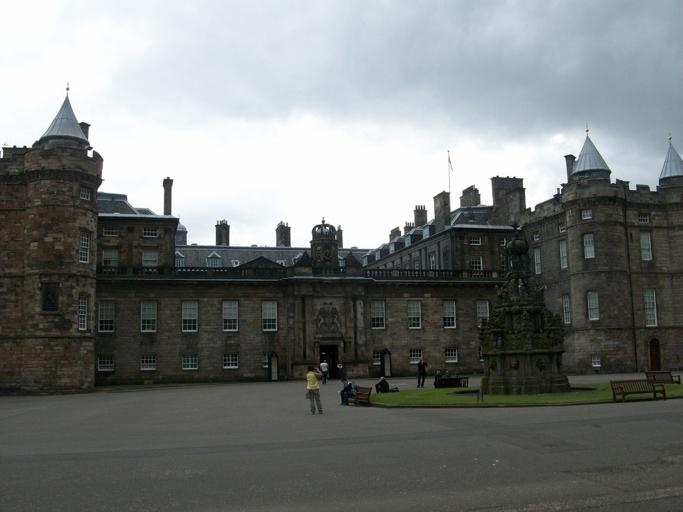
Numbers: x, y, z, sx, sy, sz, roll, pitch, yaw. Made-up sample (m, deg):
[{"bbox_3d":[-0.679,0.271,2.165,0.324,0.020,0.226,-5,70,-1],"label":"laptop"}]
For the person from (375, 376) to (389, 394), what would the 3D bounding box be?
[{"bbox_3d":[2.091,6.579,42.357,0.699,0.815,1.552,-2,-2,2],"label":"person"}]

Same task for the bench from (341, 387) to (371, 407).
[{"bbox_3d":[0.704,6.315,37.110,1.169,0.737,1.707,-1,-2,-29],"label":"bench"}]
